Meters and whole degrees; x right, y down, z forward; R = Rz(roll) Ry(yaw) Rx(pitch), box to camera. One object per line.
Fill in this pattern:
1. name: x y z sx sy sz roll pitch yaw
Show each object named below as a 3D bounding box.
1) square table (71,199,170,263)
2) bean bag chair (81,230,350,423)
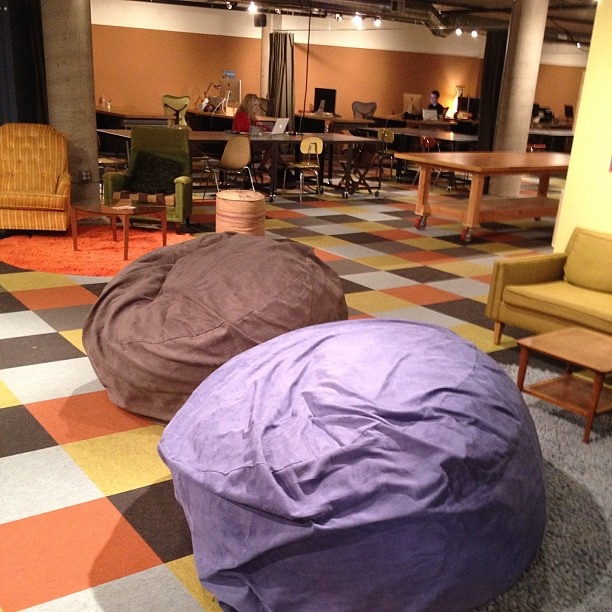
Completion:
1. square table: -1.956 -0.792 5.676 1.074 0.465 0.820 10 16 33
2. bean bag chair: -0.545 0.035 2.713 1.203 0.490 1.167 -20 15 -37
